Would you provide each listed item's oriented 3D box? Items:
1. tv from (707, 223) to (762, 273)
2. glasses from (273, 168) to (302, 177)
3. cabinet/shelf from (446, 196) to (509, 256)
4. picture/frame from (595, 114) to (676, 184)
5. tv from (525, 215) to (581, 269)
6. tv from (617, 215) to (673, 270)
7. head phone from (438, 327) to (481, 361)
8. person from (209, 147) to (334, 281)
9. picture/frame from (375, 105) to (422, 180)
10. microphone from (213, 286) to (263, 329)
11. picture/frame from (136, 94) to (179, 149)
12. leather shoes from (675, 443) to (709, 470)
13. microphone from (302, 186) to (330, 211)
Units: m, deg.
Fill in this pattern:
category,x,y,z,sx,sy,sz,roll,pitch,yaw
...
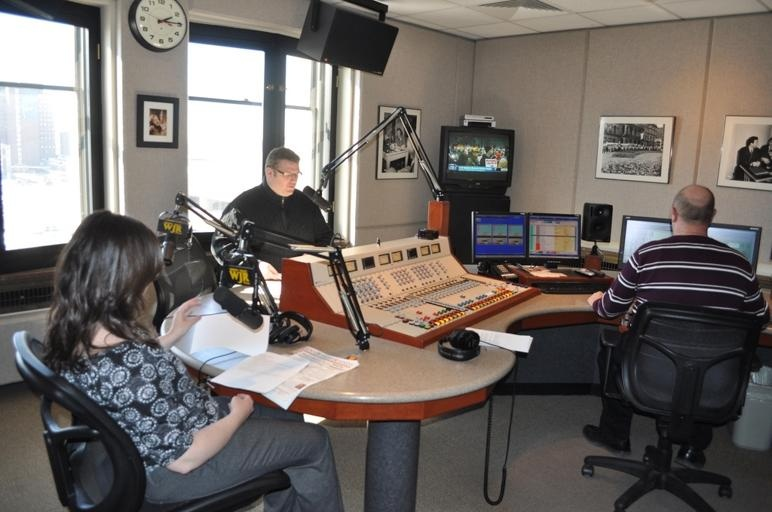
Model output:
category,x,y,z,sx,sy,sz,roll,pitch,yaw
tv,2.236,-0.054,3.767,0.342,0.395,0.029,4,5,28
glasses,-0.761,-0.644,4.567,0.196,0.058,0.083,-7,14,-23
cabinet/shelf,0.819,-0.284,5.453,0.679,0.682,0.366,0,3,-12
picture/frame,2.668,-1.130,6.180,0.709,0.664,0.049,12,17,42
tv,1.283,-0.112,4.559,0.412,0.394,0.067,1,-2,-8
tv,1.757,-0.089,3.961,0.404,0.414,0.031,1,0,28
head phone,0.375,0.471,3.067,0.223,0.107,0.223,-1,18,43
person,-0.892,-0.319,4.333,0.948,1.144,0.645,-11,20,-39
picture/frame,0.147,-1.287,6.745,0.160,0.849,0.710,10,17,39
microphone,-0.713,0.245,2.848,0.288,0.105,0.133,32,-19,-10
picture/frame,-1.875,-1.100,4.752,0.450,0.520,0.038,-3,5,-44
leather shoes,2.014,1.315,3.849,0.178,0.165,0.060,12,-20,19
microphone,-0.443,-0.383,3.808,0.156,0.182,0.479,-2,13,-6
